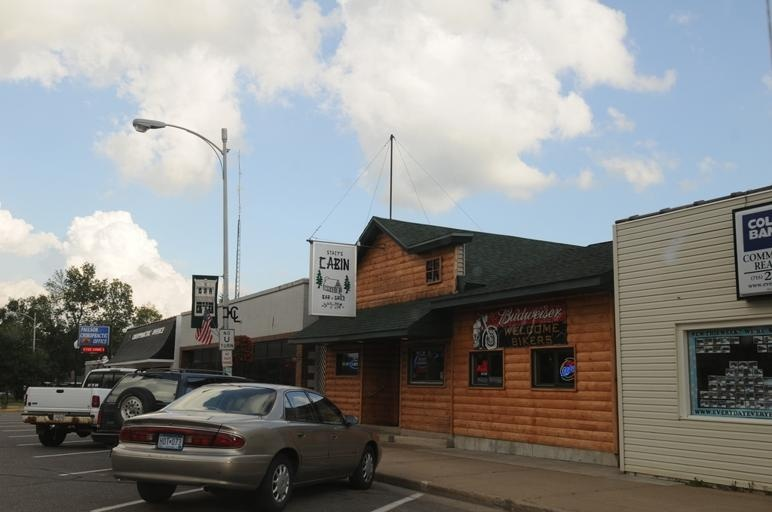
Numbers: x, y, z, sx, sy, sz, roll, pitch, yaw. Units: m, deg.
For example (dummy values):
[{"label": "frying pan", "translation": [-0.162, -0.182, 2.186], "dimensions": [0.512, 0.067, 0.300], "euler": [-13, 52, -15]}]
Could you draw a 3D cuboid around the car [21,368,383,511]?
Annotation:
[{"label": "car", "translation": [-2.380, 3.764, 15.143], "dimensions": [2.344, 1.603, 4.925], "euler": [-4, -7, 32]}]
